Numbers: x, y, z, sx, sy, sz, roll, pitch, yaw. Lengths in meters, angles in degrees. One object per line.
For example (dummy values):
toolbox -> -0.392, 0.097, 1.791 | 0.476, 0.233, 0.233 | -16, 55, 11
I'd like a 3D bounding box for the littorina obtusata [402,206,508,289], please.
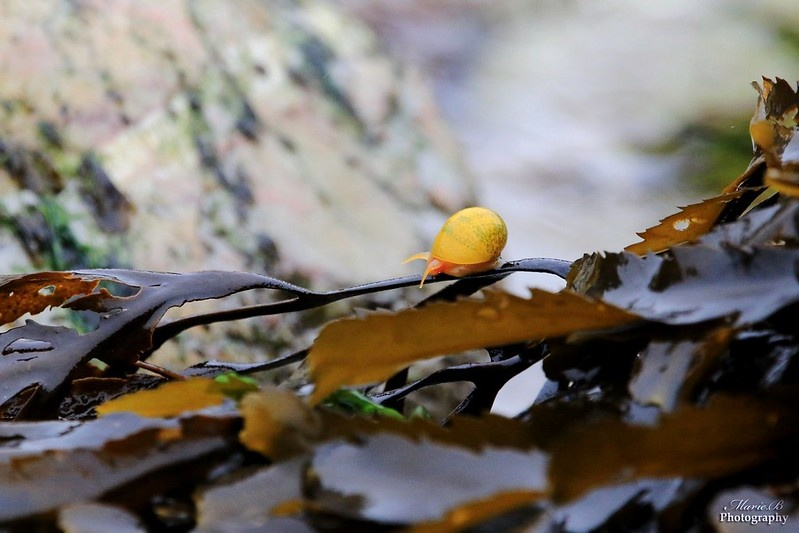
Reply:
littorina obtusata -> 0.107, -0.045, 2.201 | 0.230, 0.100, 0.143 | -27, 30, -28
